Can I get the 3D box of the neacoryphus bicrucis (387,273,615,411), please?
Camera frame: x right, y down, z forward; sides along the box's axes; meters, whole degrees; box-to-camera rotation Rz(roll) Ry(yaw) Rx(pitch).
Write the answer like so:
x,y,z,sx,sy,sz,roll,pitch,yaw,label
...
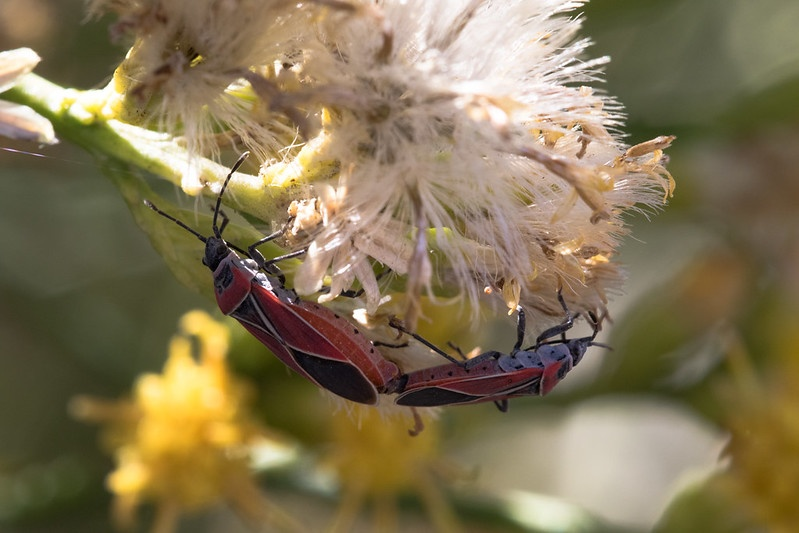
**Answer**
x,y,z,sx,sy,sz,roll,pitch,yaw,label
0.220,0.217,1.969,0.404,0.285,0.125,-18,57,-25,neacoryphus bicrucis
